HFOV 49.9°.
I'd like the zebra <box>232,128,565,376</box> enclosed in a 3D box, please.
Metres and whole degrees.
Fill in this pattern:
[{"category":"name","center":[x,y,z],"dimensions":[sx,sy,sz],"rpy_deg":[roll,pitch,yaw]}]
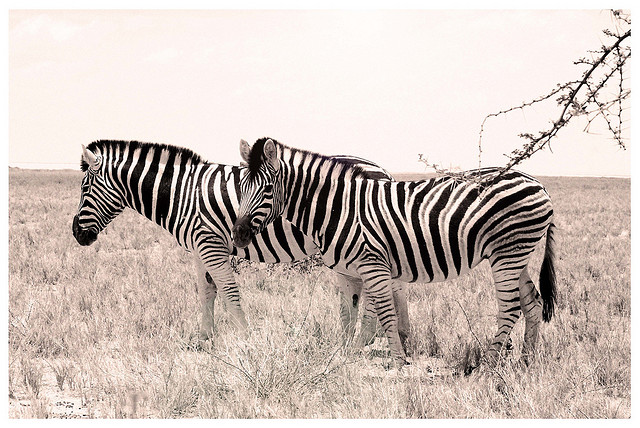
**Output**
[{"category":"zebra","center":[0.945,0.567,8.178],"dimensions":[3.793,2.715,2.140],"rpy_deg":[0,-13,-7]}]

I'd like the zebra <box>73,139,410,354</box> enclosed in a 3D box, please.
[{"category":"zebra","center":[-0.933,0.432,8.883],"dimensions":[4.172,2.880,1.071],"rpy_deg":[0,12,-6]}]

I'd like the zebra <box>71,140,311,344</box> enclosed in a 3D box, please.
[{"category":"zebra","center":[-1.127,0.292,8.816],"dimensions":[3.849,2.711,0.996],"rpy_deg":[-6,5,-10]}]
